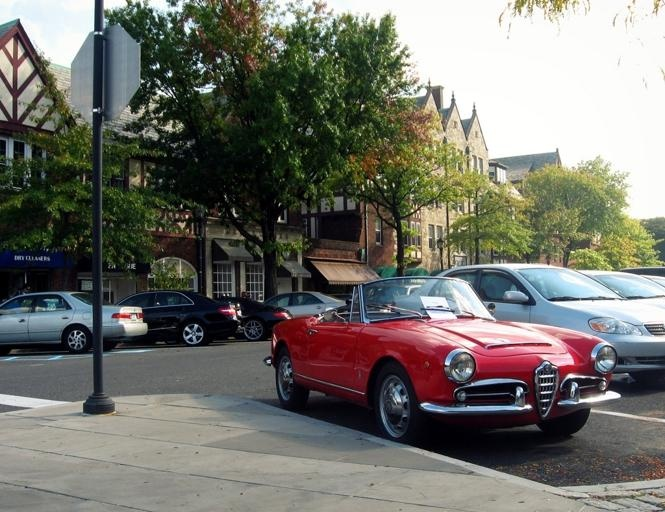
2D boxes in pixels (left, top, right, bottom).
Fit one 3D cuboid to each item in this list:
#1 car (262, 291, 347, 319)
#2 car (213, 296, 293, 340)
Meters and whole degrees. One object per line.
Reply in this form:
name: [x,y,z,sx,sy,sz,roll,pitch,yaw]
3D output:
car: [-0.897,1.816,24.450,2.721,0.965,1.167,2,-2,16]
car: [-2.308,1.938,23.010,2.809,1.011,1.233,2,-4,3]
